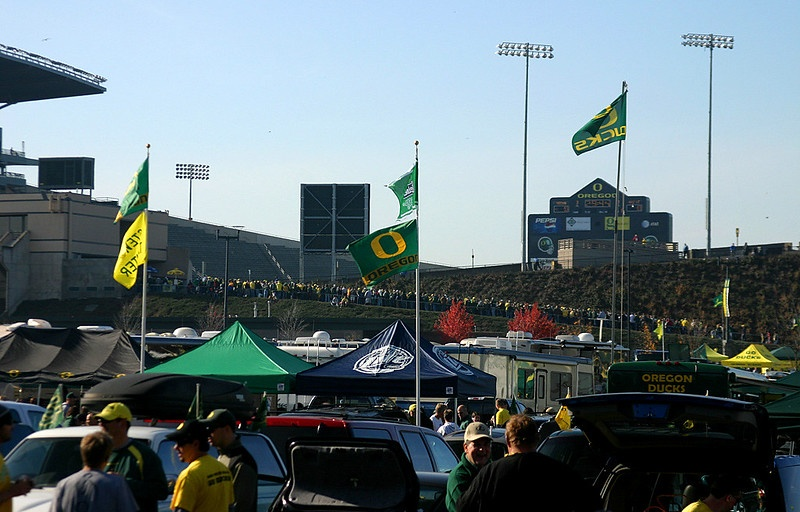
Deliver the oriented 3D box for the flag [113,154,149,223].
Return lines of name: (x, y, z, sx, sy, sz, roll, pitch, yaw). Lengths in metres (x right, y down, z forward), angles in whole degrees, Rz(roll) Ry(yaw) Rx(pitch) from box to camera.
flag: (-15.605, -4.131, 100.364, 1.898, 4.664, 0.627, -5, 36, -24)

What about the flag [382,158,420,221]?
flag: (0.125, -4.013, 98.292, 1.912, 4.525, 0.436, 6, -33, -7)

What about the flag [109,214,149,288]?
flag: (-15.760, -0.683, 100.559, 1.604, 4.452, 2.197, 3, -6, -12)
